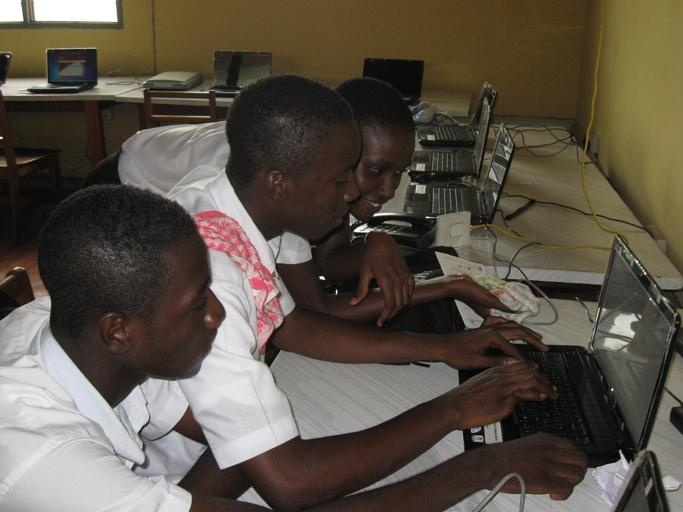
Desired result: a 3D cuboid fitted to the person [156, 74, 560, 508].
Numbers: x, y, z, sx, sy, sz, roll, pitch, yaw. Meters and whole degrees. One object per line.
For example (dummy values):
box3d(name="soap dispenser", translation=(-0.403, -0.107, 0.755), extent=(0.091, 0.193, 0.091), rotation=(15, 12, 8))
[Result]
box3d(name="person", translation=(-0.186, 0.000, 1.386), extent=(1.124, 0.930, 0.757), rotation=(-4, 26, 5))

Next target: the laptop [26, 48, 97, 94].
box3d(name="laptop", translation=(-2.250, -1.529, 4.358), extent=(0.580, 0.423, 0.442), rotation=(0, 17, -1))

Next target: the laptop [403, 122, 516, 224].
box3d(name="laptop", translation=(0.549, -0.285, 2.404), extent=(0.493, 0.351, 0.572), rotation=(6, 28, 3))
